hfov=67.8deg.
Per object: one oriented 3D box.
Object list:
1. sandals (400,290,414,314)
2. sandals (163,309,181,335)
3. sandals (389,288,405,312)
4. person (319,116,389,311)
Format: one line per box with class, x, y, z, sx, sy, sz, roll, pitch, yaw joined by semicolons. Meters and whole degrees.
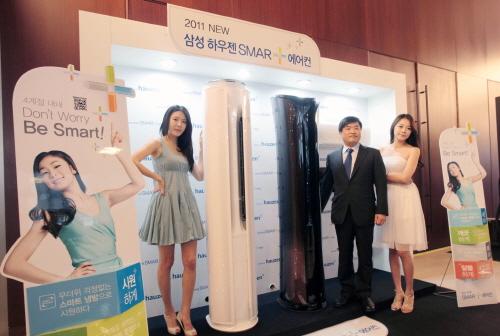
sandals;1.786;1.531;4.243;0.147;0.182;0.175;2;10;14
sandals;-0.793;1.593;3.845;0.104;0.130;0.285;5;2;-28
sandals;1.694;1.528;4.306;0.095;0.124;0.302;-17;5;31
person;1.173;0.504;4.280;0.766;2.128;0.583;3;9;21
